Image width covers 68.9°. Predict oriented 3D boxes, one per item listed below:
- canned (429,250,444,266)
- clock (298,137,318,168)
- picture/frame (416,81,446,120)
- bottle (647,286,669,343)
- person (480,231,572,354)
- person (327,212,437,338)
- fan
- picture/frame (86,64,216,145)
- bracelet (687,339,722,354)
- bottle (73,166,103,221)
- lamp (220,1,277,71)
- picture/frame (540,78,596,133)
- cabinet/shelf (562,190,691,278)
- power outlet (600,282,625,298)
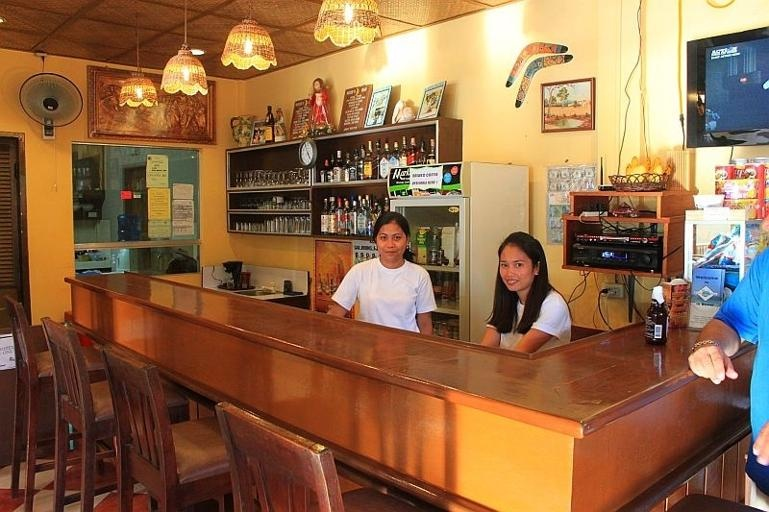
[{"bbox_3d":[0.442,0.009,4.564,0.128,0.119,0.085,2,0,32],"label":"canned"},{"bbox_3d":[-0.787,-1.079,5.841,0.064,0.353,0.322,0,10,-43],"label":"clock"},{"bbox_3d":[0.394,-1.384,5.002,0.252,0.319,0.228,11,18,41],"label":"picture/frame"},{"bbox_3d":[1.336,0.281,2.726,0.099,0.258,0.240,6,15,27],"label":"bottle"},{"bbox_3d":[0.845,0.233,3.299,0.387,0.691,0.425,-7,15,-23],"label":"person"},{"bbox_3d":[-0.008,0.123,3.827,0.700,0.807,0.281,-1,13,1],"label":"person"},{"bbox_3d":[-3.646,-1.604,6.100,0.602,0.726,0.236,-1,39,-31],"label":"fan"},{"bbox_3d":[-2.588,-1.616,6.009,1.181,0.657,0.045,-6,14,-37],"label":"picture/frame"},{"bbox_3d":[1.362,0.380,2.360,0.110,0.046,0.114,4,14,21],"label":"bracelet"},{"bbox_3d":[-3.395,-0.713,6.402,0.327,0.613,0.134,-9,16,-30],"label":"bottle"},{"bbox_3d":[-0.865,-1.339,3.550,0.318,0.302,0.168,-4,14,-14],"label":"lamp"},{"bbox_3d":[1.441,-1.161,4.321,0.480,0.400,0.038,3,6,37],"label":"picture/frame"},{"bbox_3d":[1.637,-0.105,3.741,0.561,0.603,0.891,-3,5,-39],"label":"cabinet/shelf"},{"bbox_3d":[1.699,0.257,4.165,0.130,0.095,0.189,6,1,-35],"label":"power outlet"}]
